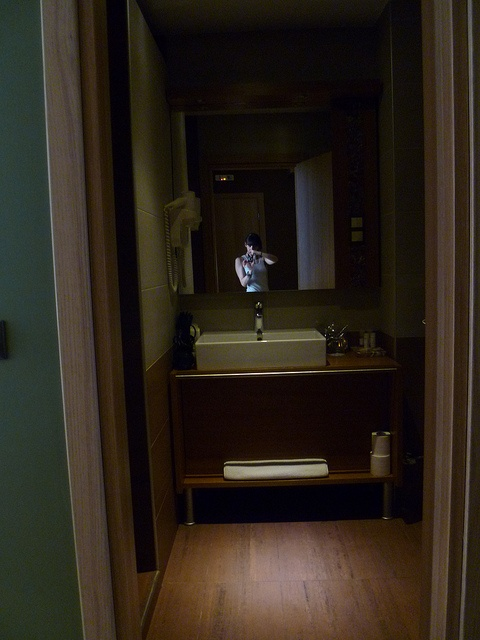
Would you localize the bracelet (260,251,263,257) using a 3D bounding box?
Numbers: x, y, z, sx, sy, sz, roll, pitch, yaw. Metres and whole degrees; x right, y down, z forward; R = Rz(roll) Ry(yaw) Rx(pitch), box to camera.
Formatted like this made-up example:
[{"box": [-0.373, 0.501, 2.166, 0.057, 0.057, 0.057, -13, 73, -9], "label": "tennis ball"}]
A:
[{"box": [0.107, -0.326, 2.628, 0.018, 0.029, 0.013, 0, 8, 4], "label": "bracelet"}]

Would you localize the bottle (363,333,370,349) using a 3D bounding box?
[{"box": [0.599, 0.095, 2.525, 0.034, 0.095, 0.078, 0, 4, 8], "label": "bottle"}]

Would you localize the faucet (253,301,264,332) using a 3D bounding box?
[{"box": [0.095, -0.017, 2.624, 0.045, 0.145, 0.147, -1, 6, 2], "label": "faucet"}]

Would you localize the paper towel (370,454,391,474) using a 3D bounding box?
[{"box": [0.602, 0.617, 2.281, 0.084, 0.092, 0.064, 0, 6, 16], "label": "paper towel"}]

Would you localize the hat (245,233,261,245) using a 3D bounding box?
[{"box": [0.066, -0.397, 2.631, 0.050, 0.070, 0.047, -3, 10, -1], "label": "hat"}]

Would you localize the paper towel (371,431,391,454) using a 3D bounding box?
[{"box": [0.604, 0.512, 2.279, 0.065, 0.114, 0.072, 1, 2, 11], "label": "paper towel"}]

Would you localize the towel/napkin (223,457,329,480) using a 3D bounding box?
[{"box": [0.158, 0.654, 2.353, 0.467, 0.035, 0.177, -2, 7, 2], "label": "towel/napkin"}]

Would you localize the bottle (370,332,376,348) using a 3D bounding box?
[{"box": [0.627, 0.095, 2.523, 0.016, 0.064, 0.053, 1, -8, 3], "label": "bottle"}]
